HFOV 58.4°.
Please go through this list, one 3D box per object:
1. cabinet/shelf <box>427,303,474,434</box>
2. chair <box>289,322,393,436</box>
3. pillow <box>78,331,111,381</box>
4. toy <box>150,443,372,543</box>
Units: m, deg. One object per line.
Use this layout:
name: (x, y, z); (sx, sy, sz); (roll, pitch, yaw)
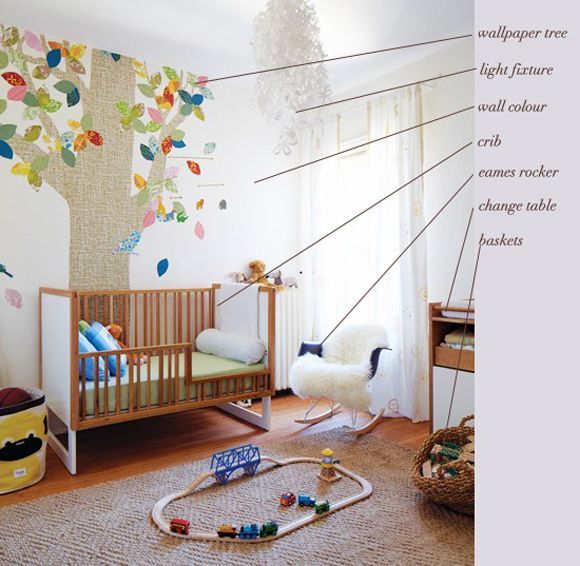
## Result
cabinet/shelf: (0.846, 0.453, 2.733); (0.231, 0.685, 0.406); (1, 3, 17)
chair: (0.260, 0.483, 3.128); (0.647, 0.612, 0.621); (-1, -2, 37)
pillow: (-1.007, 0.384, 2.643); (0.134, 0.258, 0.547); (-1, 3, -21)
toy: (-0.083, 0.913, 2.164); (0.622, 0.110, 0.359); (-3, 6, -33)
